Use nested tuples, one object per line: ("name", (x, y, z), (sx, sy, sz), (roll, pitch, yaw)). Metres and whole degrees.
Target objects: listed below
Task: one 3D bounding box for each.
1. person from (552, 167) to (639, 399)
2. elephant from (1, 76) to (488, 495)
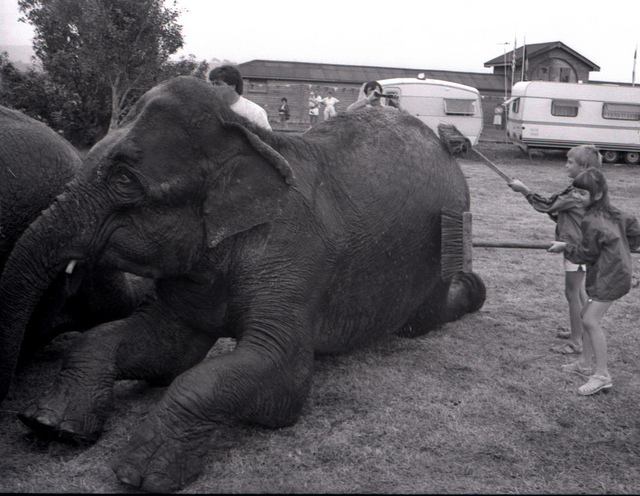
("person", (1.919, 0.231, 4.081), (0.534, 1.582, 0.892), (4, 18, 24))
("elephant", (-0.342, -0.207, 4.321), (3.635, 2.184, 1.711), (-10, 16, -36))
